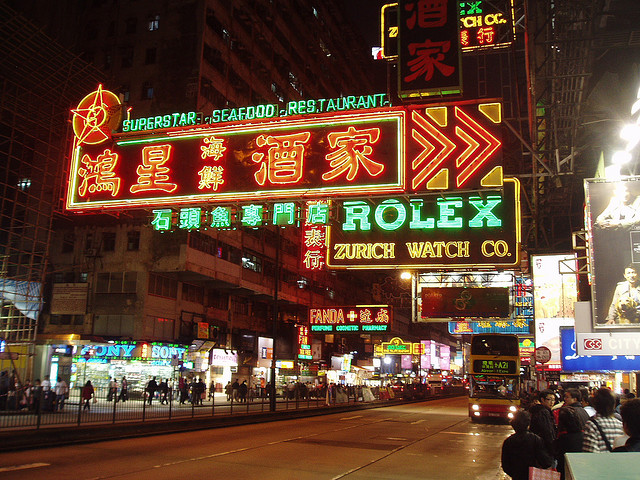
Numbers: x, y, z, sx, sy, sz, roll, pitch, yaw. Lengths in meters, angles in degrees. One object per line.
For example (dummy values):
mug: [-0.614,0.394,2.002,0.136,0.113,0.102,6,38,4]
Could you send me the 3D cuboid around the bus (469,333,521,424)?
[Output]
bus: [9.891,7.883,35.562,3.152,4.865,9.491,-3,-25,16]
